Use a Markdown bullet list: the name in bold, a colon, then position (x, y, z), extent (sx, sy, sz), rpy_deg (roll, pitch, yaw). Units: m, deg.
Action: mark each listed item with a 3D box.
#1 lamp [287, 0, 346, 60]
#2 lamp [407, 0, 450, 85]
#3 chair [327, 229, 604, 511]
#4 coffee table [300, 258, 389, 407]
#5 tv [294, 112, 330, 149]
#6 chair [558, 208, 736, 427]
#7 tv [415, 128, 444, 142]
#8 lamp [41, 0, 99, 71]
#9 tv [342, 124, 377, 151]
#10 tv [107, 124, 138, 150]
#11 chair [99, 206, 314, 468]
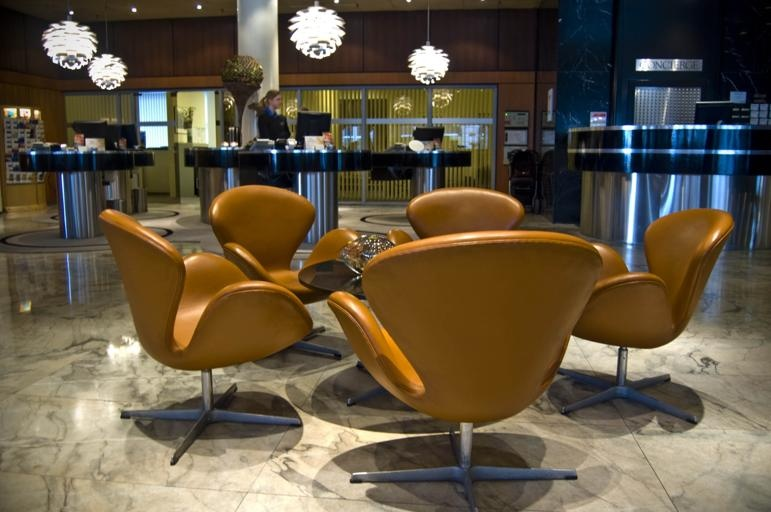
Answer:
- **lamp**: position (-0.995, -3.386, 8.910), extent (0.741, 0.752, 0.534), rpy_deg (0, 12, 7)
- **lamp**: position (0.867, -4.269, 12.000), extent (0.838, 1.650, 2.212), rpy_deg (0, 11, 6)
- **chair**: position (0.285, 0.568, 3.393), extent (1.461, 1.482, 1.361), rpy_deg (-2, 7, -8)
- **coffee table**: position (-0.271, 0.524, 4.200), extent (0.773, 0.934, 0.897), rpy_deg (1, 18, 4)
- **tv**: position (-0.916, -1.589, 7.689), extent (0.559, 0.573, 0.258), rpy_deg (-1, 14, -9)
- **chair**: position (1.735, 0.336, 4.257), extent (1.257, 1.449, 1.257), rpy_deg (-3, 7, 5)
- **tv**: position (0.797, -2.203, 10.911), extent (0.424, 0.302, 0.316), rpy_deg (1, 13, 5)
- **lamp**: position (-5.399, -3.770, 10.346), extent (0.834, 0.923, 0.607), rpy_deg (3, 13, 23)
- **tv**: position (-0.593, -2.705, 13.716), extent (0.820, 0.562, 0.214), rpy_deg (-1, 12, 0)
- **tv**: position (-4.503, -2.061, 10.402), extent (0.375, 0.439, 1.243), rpy_deg (-5, 12, -18)
- **chair**: position (-1.075, 0.415, 3.726), extent (1.159, 1.317, 1.039), rpy_deg (-4, 11, -34)
